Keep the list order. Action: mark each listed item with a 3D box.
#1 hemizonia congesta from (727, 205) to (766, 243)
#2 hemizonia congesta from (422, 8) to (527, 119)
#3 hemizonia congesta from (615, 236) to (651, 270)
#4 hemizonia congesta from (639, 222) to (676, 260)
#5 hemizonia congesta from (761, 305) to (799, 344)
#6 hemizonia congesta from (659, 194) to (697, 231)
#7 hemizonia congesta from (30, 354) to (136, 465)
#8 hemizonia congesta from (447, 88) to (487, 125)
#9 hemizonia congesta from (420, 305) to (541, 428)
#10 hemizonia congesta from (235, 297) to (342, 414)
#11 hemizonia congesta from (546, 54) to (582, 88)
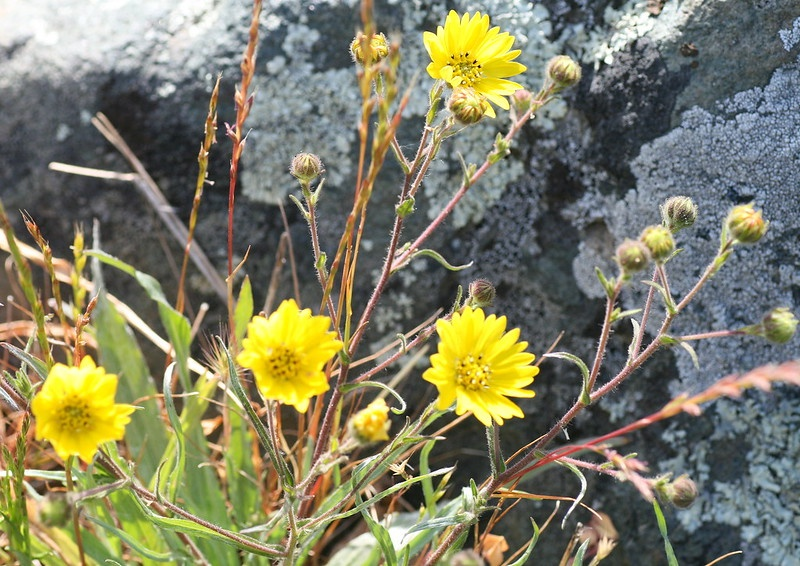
[{"bbox_3d":[1.382,-0.237,3.343,0.132,0.139,0.155,-1,66,29],"label":"hemizonia congesta"},{"bbox_3d":[0.258,-0.936,3.523,0.401,0.470,0.183,3,78,6],"label":"hemizonia congesta"},{"bbox_3d":[0.912,-0.108,3.278,0.135,0.087,0.120,0,57,-13],"label":"hemizonia congesta"},{"bbox_3d":[1.067,-0.166,3.397,0.173,0.222,0.145,-2,80,24],"label":"hemizonia congesta"},{"bbox_3d":[1.486,0.159,3.310,0.131,0.102,0.135,2,81,-25],"label":"hemizonia congesta"},{"bbox_3d":[1.189,-0.285,3.531,0.133,0.160,0.183,8,84,1],"label":"hemizonia congesta"},{"bbox_3d":[-1.194,0.472,3.161,0.344,0.227,0.309,-16,62,-22],"label":"hemizonia congesta"},{"bbox_3d":[0.273,-0.714,3.386,0.160,0.080,0.153,22,55,1],"label":"hemizonia congesta"},{"bbox_3d":[0.299,0.416,3.415,0.442,0.486,0.411,21,54,2],"label":"hemizonia congesta"},{"bbox_3d":[-0.418,0.272,3.199,0.391,0.151,0.423,-28,96,-12],"label":"hemizonia congesta"},{"bbox_3d":[0.671,-0.881,3.483,0.131,0.085,0.143,19,108,25],"label":"hemizonia congesta"}]
